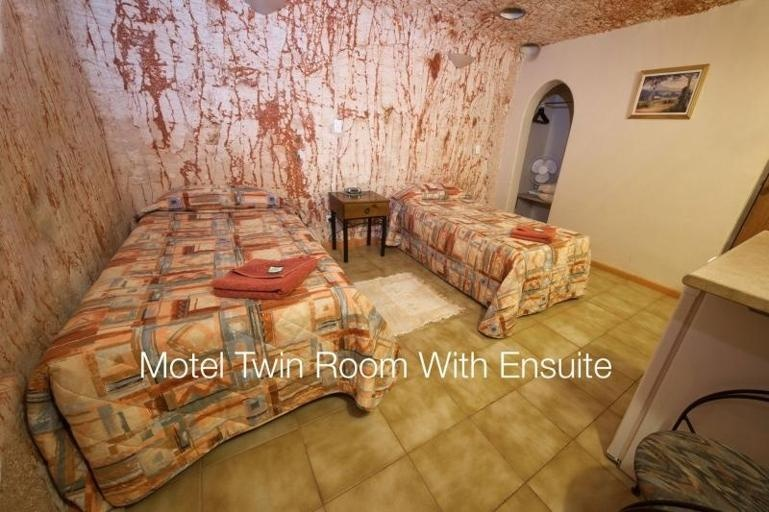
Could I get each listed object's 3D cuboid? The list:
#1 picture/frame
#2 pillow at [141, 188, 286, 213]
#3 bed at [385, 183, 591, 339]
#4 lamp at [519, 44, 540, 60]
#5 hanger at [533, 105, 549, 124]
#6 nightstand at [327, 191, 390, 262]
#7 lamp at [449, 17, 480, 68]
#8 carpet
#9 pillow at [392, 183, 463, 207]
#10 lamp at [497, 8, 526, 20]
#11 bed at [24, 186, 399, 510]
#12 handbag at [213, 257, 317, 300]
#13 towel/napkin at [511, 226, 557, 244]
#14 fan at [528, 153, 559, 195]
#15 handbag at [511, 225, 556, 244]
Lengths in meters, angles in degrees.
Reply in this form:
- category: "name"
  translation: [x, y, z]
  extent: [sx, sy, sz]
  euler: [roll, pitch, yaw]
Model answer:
- category: "picture/frame"
  translation: [2.918, -1.670, 4.044]
  extent: [0.057, 0.556, 0.736]
  euler: [-14, 21, -36]
- category: "pillow"
  translation: [-1.653, -0.564, 3.908]
  extent: [0.811, 0.139, 0.480]
  euler: [-7, 27, -22]
- category: "bed"
  translation: [0.974, 0.072, 4.434]
  extent: [1.504, 0.761, 2.014]
  euler: [-12, 27, -27]
- category: "lamp"
  translation: [1.880, -2.607, 5.118]
  extent: [0.243, 0.166, 0.294]
  euler: [9, 22, 15]
- category: "hanger"
  translation: [2.474, -2.185, 6.180]
  extent: [0.142, 0.286, 0.452]
  euler: [20, 27, 33]
- category: "nightstand"
  translation: [-0.325, -0.368, 4.688]
  extent: [0.632, 0.627, 0.607]
  euler: [-12, 23, -32]
- category: "lamp"
  translation: [0.957, -2.519, 4.763]
  extent: [0.454, 0.497, 0.144]
  euler: [-13, 29, -34]
- category: "carpet"
  translation: [0.247, 0.470, 3.869]
  extent: [0.653, 0.008, 0.650]
  euler: [-12, 29, -27]
- category: "pillow"
  translation: [0.573, -0.792, 4.992]
  extent: [0.739, 0.154, 0.364]
  euler: [-5, 34, -13]
- category: "lamp"
  translation: [1.362, -2.565, 4.238]
  extent: [0.273, 0.071, 0.352]
  euler: [7, 21, 13]
- category: "bed"
  translation: [-1.215, 0.571, 3.158]
  extent: [2.121, 1.348, 1.989]
  euler: [-3, 22, -14]
- category: "handbag"
  translation: [-0.842, 0.156, 2.698]
  extent: [0.400, 0.101, 0.361]
  euler: [-1, 16, 7]
- category: "towel/napkin"
  translation: [1.460, -0.208, 3.798]
  extent: [0.273, 0.063, 0.267]
  euler: [-14, 22, -40]
- category: "fan"
  translation: [2.456, -1.257, 6.160]
  extent: [0.201, 0.595, 0.575]
  euler: [-2, 13, -17]
- category: "handbag"
  translation: [1.460, -0.213, 3.816]
  extent: [0.305, 0.070, 0.288]
  euler: [-11, 21, -35]
